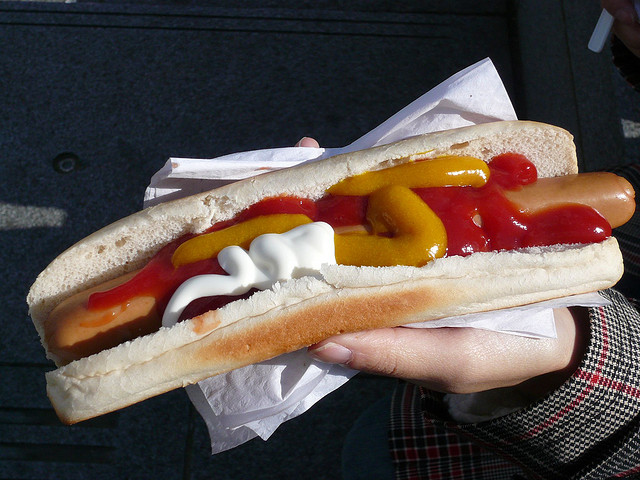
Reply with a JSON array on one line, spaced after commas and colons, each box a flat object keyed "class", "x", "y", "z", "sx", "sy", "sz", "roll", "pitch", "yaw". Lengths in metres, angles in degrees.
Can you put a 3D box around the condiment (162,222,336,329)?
[{"class": "condiment", "x": -0.264, "y": 0.119, "z": 3.231, "sx": 1.062, "sy": 0.619, "sz": 0.431, "roll": -10, "pitch": 99, "yaw": -34}]
